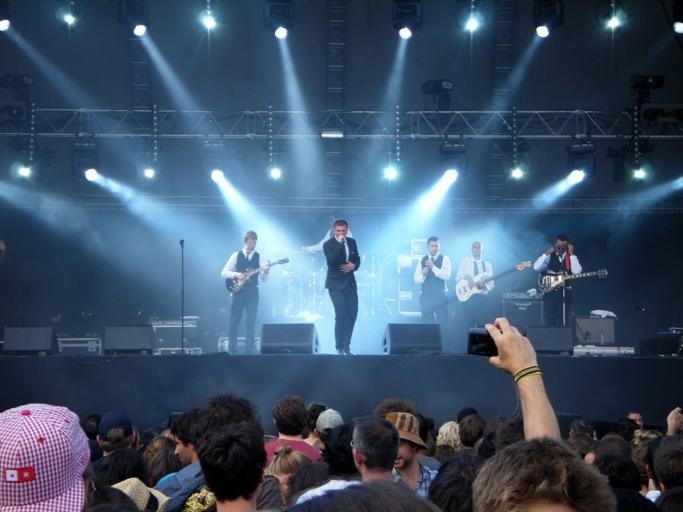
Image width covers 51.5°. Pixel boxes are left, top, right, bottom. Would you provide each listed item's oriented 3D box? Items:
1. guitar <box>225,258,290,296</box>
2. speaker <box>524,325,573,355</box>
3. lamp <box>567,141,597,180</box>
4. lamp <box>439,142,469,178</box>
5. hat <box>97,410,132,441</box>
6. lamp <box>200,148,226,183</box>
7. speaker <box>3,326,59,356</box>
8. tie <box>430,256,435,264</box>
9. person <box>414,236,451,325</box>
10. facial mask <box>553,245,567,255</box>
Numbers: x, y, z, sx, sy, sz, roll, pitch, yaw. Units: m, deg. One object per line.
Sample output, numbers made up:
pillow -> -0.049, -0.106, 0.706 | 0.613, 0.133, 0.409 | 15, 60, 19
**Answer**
guitar -> -1.366, 0.331, 12.288 | 0.698, 0.767, 1.045 | -11, -18, 37
speaker -> 2.921, 1.186, 10.064 | 0.741, 0.372, 0.458 | 1, -5, 1
lamp -> 4.359, -1.746, 12.969 | 0.740, 0.851, 0.620 | 1, 6, 10
lamp -> 2.073, -1.838, 13.130 | 0.577, 0.553, 0.676 | -5, -44, -1
hat -> -2.135, 1.591, 6.668 | 0.296, 0.266, 0.211 | 4, -15, -16
lamp -> -2.523, -1.803, 14.028 | 0.543, 0.924, 0.521 | -1, -2, -5
speaker -> -4.384, 1.191, 10.117 | 0.646, 0.388, 0.160 | -1, 1, -7
tie -> 1.564, 0.055, 12.195 | 0.083, 0.109, 0.028 | 1, -33, 2
person -> 1.552, 0.392, 12.185 | 0.605, 1.642, 0.494 | -1, -14, 5
facial mask -> 3.866, -0.103, 12.506 | 0.184, 0.155, 0.146 | 23, -3, 13
